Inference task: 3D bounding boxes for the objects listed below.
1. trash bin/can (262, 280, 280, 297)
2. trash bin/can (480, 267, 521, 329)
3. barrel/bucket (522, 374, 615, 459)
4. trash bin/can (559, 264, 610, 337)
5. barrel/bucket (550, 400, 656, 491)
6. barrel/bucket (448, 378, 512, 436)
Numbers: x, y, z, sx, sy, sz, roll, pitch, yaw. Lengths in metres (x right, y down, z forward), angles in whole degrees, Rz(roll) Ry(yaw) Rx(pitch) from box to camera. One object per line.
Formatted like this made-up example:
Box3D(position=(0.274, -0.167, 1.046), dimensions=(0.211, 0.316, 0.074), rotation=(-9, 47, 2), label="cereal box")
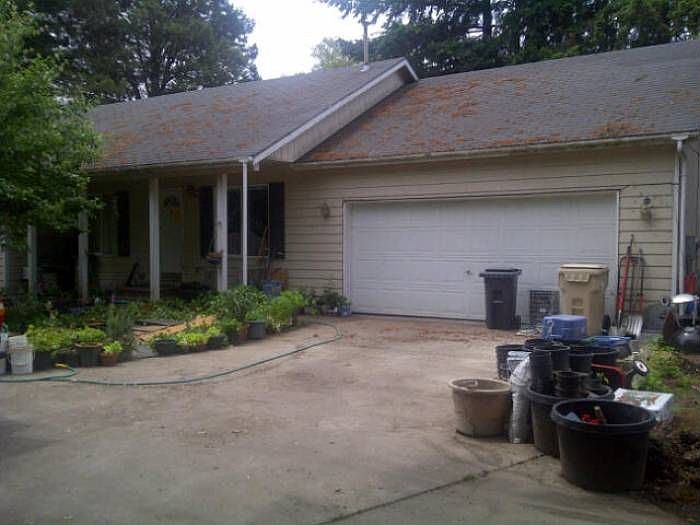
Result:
Box3D(position=(-1.788, 0.579, 12.609), dimensions=(0.317, 0.247, 0.327), rotation=(0, -4, -1), label="trash bin/can")
Box3D(position=(3.086, 0.749, 11.439), dimensions=(0.750, 1.241, 0.459), rotation=(2, 7, 20), label="trash bin/can")
Box3D(position=(2.072, 1.484, 5.421), dimensions=(0.750, 0.579, 0.764), rotation=(-3, 3, 0), label="barrel/bucket")
Box3D(position=(4.421, 0.802, 10.393), dimensions=(0.854, 1.371, 0.957), rotation=(0, -4, 37), label="trash bin/can")
Box3D(position=(2.149, 1.572, 4.802), dimensions=(0.735, 0.523, 0.756), rotation=(-1, -2, 0), label="barrel/bucket")
Box3D(position=(1.358, 1.535, 5.825), dimensions=(0.548, 0.373, 0.569), rotation=(-2, -4, 0), label="barrel/bucket")
